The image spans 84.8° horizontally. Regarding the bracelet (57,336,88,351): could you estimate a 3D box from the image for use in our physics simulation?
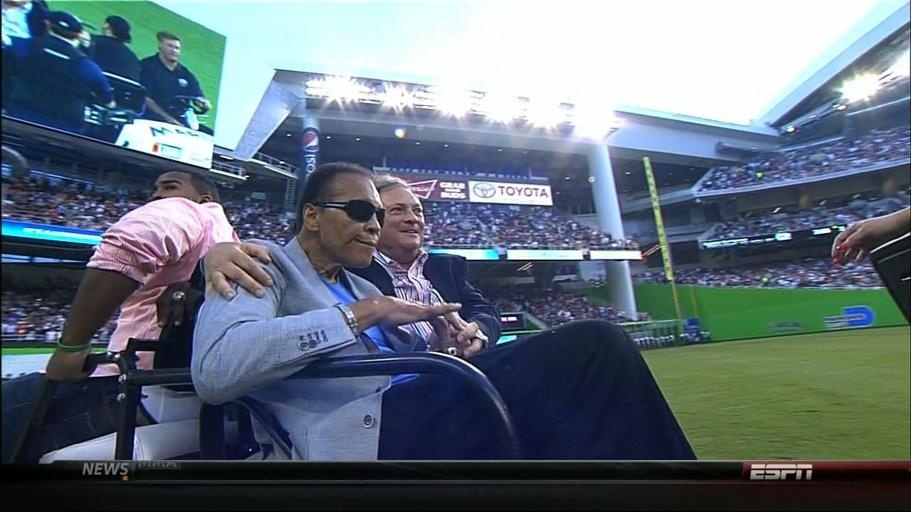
[{"bbox_3d":[-1.924,0.433,2.489,0.126,0.031,0.090,10,-1,-45],"label":"bracelet"}]

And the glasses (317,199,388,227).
[{"bbox_3d":[-0.519,-0.220,2.571,0.229,0.050,0.180,0,-7,14],"label":"glasses"}]
